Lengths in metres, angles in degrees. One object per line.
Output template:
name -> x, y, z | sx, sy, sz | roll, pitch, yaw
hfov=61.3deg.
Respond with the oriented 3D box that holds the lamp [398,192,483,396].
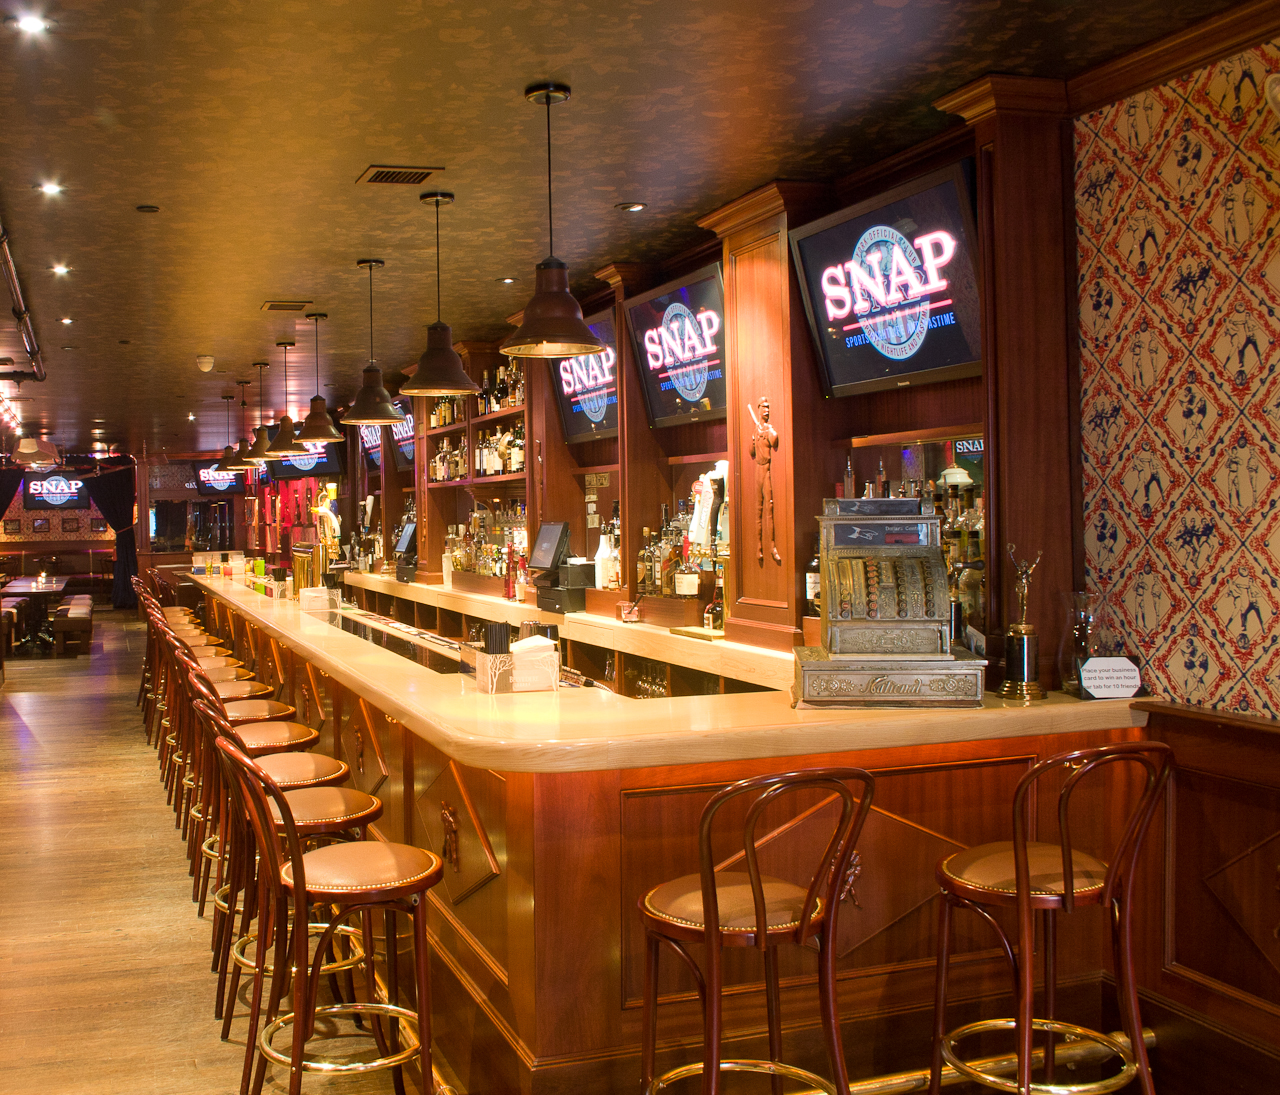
lamp -> -0.980, -1.241, 5.246 | 0.380, 0.916, 0.373 | -6, 13, -37
